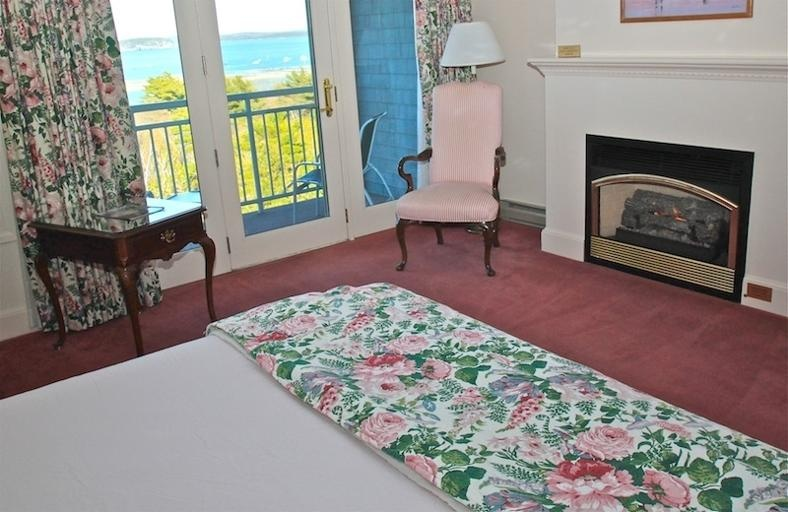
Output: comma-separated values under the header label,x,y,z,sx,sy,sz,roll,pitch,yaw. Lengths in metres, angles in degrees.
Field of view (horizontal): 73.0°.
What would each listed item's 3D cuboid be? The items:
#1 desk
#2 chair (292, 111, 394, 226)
label,x,y,z,sx,sy,sz,roll,pitch,yaw
desk,-1.657,-0.119,3.534,1.002,1.012,1.082,10,18,28
chair,-0.327,-0.837,4.751,1.031,1.206,0.741,2,23,1
